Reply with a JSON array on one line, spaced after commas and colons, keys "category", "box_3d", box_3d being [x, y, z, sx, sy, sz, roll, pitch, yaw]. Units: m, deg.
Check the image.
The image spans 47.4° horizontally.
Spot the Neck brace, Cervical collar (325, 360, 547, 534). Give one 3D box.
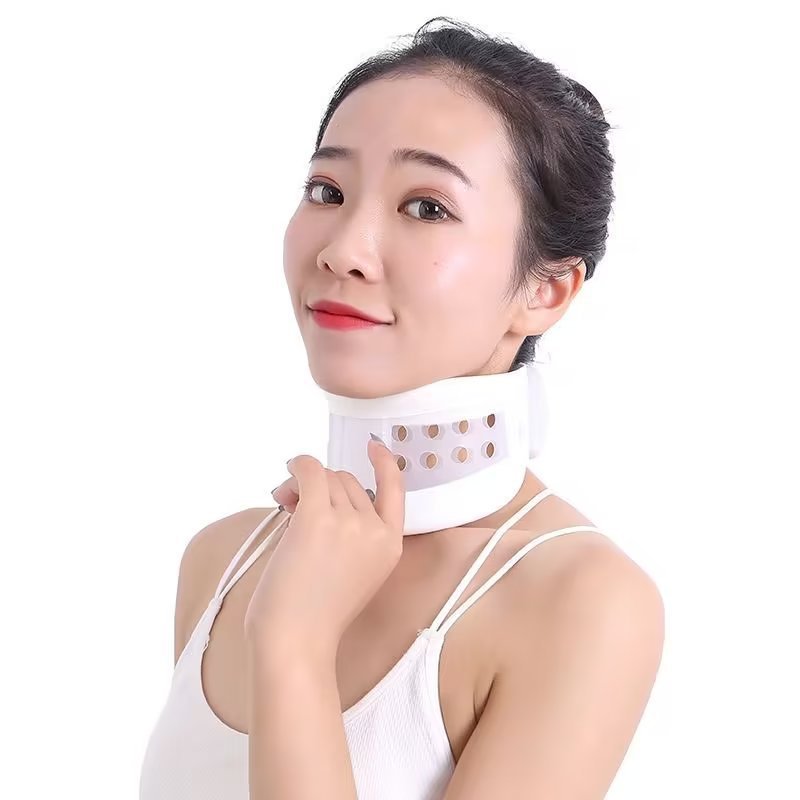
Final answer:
[{"category": "Neck brace, Cervical collar", "box_3d": [0.103, 0.091, 2.035, 0.478, 0.250, 0.322, -10, 7, -18]}]
